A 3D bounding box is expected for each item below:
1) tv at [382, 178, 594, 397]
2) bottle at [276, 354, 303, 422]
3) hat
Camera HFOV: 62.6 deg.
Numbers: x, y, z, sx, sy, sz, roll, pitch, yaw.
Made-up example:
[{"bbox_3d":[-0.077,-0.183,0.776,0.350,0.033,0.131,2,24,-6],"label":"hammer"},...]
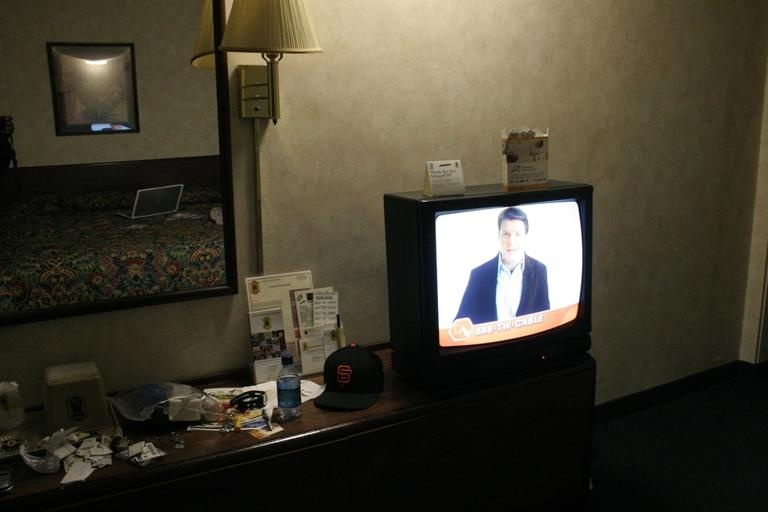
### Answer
[{"bbox_3d":[0.470,0.101,2.891,0.926,0.824,0.430,-6,8,-27],"label":"tv"},{"bbox_3d":[-0.385,0.514,2.535,0.099,0.240,0.170,-5,8,-9],"label":"bottle"},{"bbox_3d":[-0.141,0.486,2.651,0.267,0.200,0.379,2,17,14],"label":"hat"}]
